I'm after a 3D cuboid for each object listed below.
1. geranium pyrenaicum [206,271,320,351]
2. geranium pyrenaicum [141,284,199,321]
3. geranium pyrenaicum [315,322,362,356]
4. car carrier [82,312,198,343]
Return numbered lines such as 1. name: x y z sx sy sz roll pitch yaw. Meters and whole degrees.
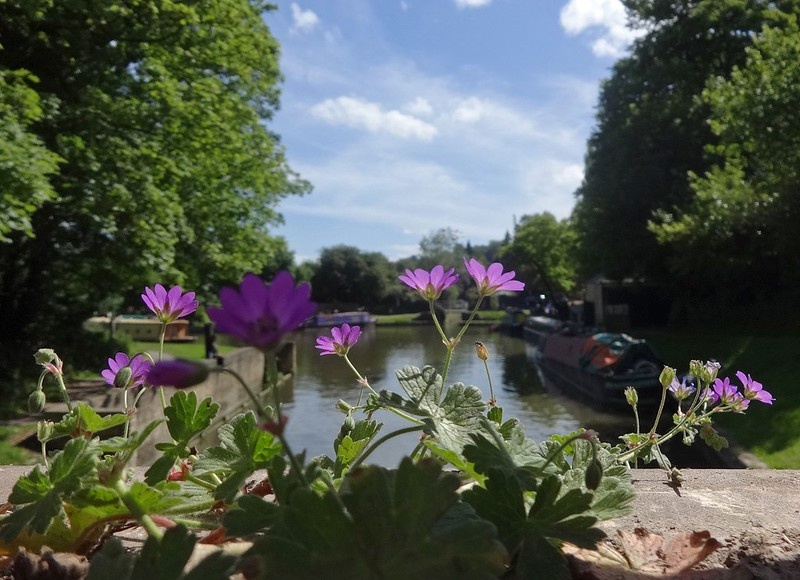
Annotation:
1. geranium pyrenaicum: -0.286 0.037 1.238 0.179 0.089 0.179 -24 51 -19
2. geranium pyrenaicum: -0.719 0.046 1.807 0.152 0.113 0.305 6 0 -25
3. geranium pyrenaicum: -0.220 0.182 2.051 0.143 0.112 0.290 6 0 -8
4. car carrier: -9.150 1.402 20.609 1.990 0.560 1.843 0 -3 -2
